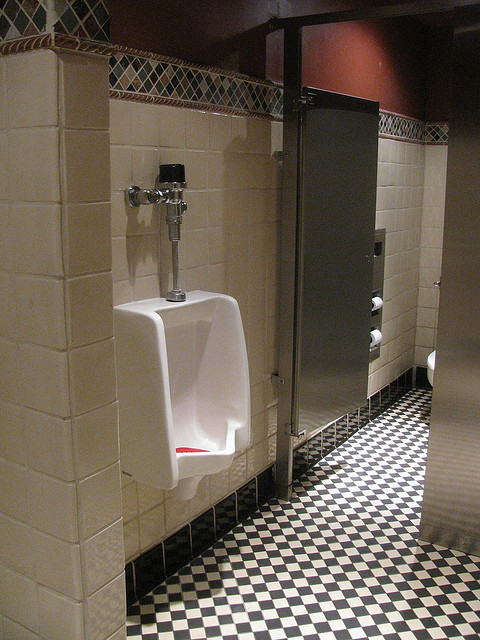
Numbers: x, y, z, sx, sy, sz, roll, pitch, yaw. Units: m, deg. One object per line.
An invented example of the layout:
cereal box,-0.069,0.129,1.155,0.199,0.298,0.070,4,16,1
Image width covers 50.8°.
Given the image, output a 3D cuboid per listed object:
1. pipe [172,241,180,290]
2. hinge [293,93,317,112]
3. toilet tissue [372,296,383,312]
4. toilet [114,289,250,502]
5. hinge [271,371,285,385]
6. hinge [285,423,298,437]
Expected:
pipe,-0.189,-0.162,1.481,0.017,0.142,0.046,-1,7,-7
hinge,0.252,-0.837,1.940,0.075,0.057,0.064,2,25,4
toilet tissue,0.833,-0.112,3.073,0.062,0.076,0.089,17,15,28
toilet,-0.183,0.187,1.553,0.381,0.722,0.364,-11,22,-44
hinge,0.161,0.256,2.224,0.034,0.040,0.095,-3,10,-21
hinge,0.217,0.468,2.216,0.040,0.072,0.066,1,4,10
